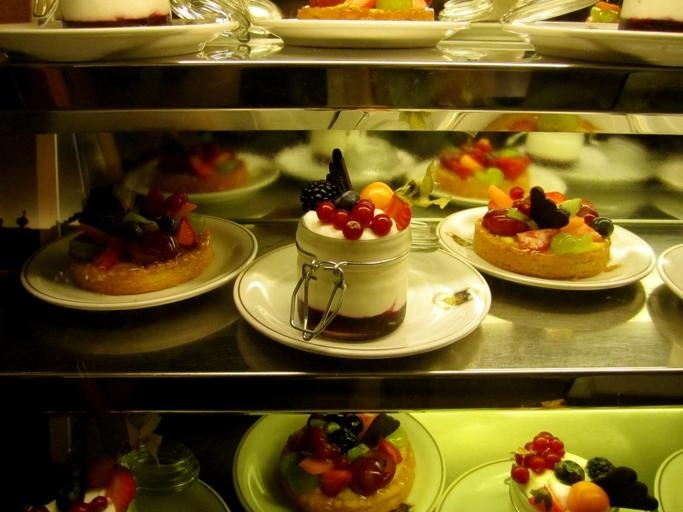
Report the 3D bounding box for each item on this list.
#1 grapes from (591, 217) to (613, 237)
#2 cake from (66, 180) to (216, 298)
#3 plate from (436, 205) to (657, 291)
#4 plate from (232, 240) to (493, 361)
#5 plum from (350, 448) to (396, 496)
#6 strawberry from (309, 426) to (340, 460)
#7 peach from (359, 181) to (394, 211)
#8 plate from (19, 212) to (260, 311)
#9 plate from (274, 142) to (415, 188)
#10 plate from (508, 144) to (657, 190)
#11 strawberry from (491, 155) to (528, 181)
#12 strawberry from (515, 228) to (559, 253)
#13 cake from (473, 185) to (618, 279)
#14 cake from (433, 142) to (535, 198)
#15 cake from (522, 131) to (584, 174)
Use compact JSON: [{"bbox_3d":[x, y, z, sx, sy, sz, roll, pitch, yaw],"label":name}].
[{"bbox_3d":[0.515,-0.058,1.120,0.034,0.034,0.044,4,-2,3],"label":"grapes"},{"bbox_3d":[-0.361,-0.050,1.040,0.234,0.131,0.241,24,34,27],"label":"cake"},{"bbox_3d":[0.369,-0.002,1.116,0.241,0.031,0.236,-14,27,-35],"label":"plate"},{"bbox_3d":[0.025,0.046,1.001,0.415,0.173,0.372,-6,18,-13],"label":"plate"},{"bbox_3d":[0.065,0.438,1.154,0.068,0.030,0.084,-3,23,3],"label":"plum"},{"bbox_3d":[-0.033,0.399,1.212,0.037,0.025,0.060,23,15,-25],"label":"strawberry"},{"bbox_3d":[0.059,-0.113,1.030,0.060,0.064,0.057,-1,10,0],"label":"peach"},{"bbox_3d":[-0.370,-0.048,1.074,0.379,0.177,0.378,-15,22,-30],"label":"plate"},{"bbox_3d":[0.008,-0.209,1.297,0.200,0.117,0.188,2,19,-28],"label":"plate"},{"bbox_3d":[0.579,-0.242,1.412,0.323,0.092,0.217,-3,20,-4],"label":"plate"},{"bbox_3d":[0.396,-0.206,1.319,0.058,0.039,0.056,-1,18,1],"label":"strawberry"},{"bbox_3d":[0.373,-0.034,1.085,0.052,0.013,0.053,10,36,31],"label":"strawberry"},{"bbox_3d":[0.396,-0.049,1.154,0.243,0.119,0.244,20,29,39],"label":"cake"},{"bbox_3d":[0.324,-0.203,1.270,0.225,0.113,0.142,3,16,2],"label":"cake"},{"bbox_3d":[0.486,-0.244,1.293,0.100,0.054,0.096,0,23,0],"label":"cake"}]
